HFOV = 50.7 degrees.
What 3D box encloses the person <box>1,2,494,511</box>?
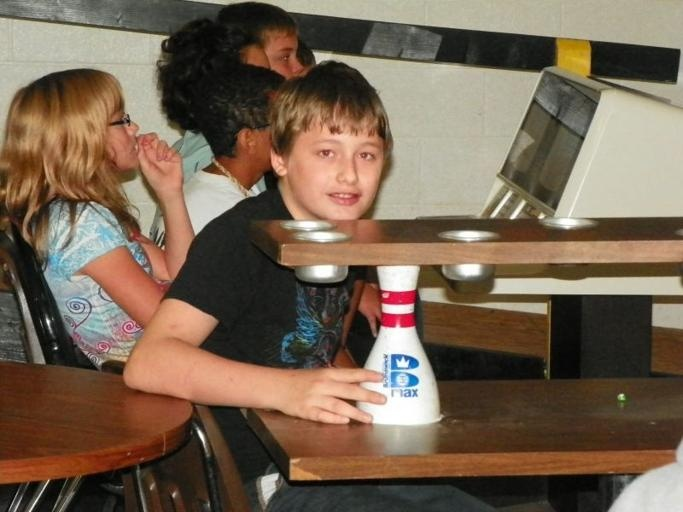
[{"bbox_3d":[-0.009,0.024,1.473,0.630,0.779,0.651,8,21,13],"label":"person"}]
